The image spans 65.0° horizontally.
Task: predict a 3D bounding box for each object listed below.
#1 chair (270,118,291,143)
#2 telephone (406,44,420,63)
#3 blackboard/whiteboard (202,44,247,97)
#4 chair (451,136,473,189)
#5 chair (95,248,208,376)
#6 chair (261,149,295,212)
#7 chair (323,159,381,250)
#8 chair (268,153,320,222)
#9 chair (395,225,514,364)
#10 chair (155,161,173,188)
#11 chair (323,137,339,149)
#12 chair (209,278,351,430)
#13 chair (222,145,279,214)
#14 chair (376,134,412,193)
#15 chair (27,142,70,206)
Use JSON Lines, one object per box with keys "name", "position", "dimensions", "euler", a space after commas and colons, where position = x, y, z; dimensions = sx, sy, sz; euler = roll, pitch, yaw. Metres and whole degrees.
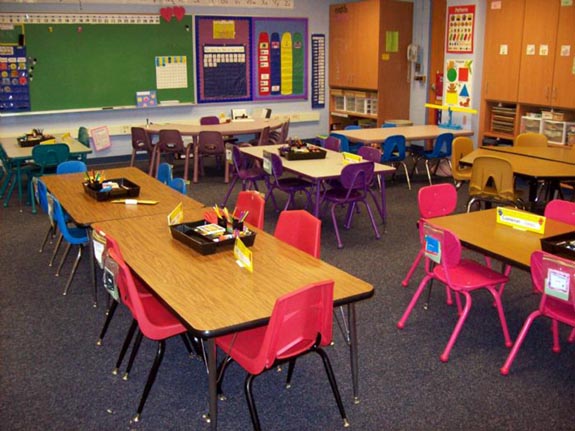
{"name": "chair", "position": [-0.120, -1.611, 8.686], "dimensions": [0.422, 0.611, 0.440], "euler": [-2, 22, -5]}
{"name": "telephone", "position": [2.682, -3.477, 9.665], "dimensions": [0.255, 0.367, 0.128], "euler": [1, 17, 11]}
{"name": "blackboard/whiteboard", "position": [-1.385, -3.179, 9.697], "dimensions": [0.989, 1.163, 0.106], "euler": [-4, 10, -25]}
{"name": "chair", "position": [2.454, -0.758, 6.176], "dimensions": [0.360, 0.605, 0.366], "euler": [-11, 12, -19]}
{"name": "chair", "position": [-0.832, 0.617, 2.827], "dimensions": [0.502, 0.774, 0.488], "euler": [-11, 31, -28]}
{"name": "chair", "position": [-0.049, -0.523, 5.908], "dimensions": [0.527, 0.873, 0.507], "euler": [-7, 16, -21]}
{"name": "chair", "position": [0.776, -0.127, 5.542], "dimensions": [0.626, 1.095, 0.727], "euler": [-12, 30, -20]}
{"name": "chair", "position": [0.002, -0.491, 5.970], "dimensions": [0.626, 0.953, 0.604], "euler": [-7, 18, -21]}
{"name": "chair", "position": [1.258, 0.512, 3.428], "dimensions": [0.769, 0.972, 0.804], "euler": [-15, 17, -36]}
{"name": "chair", "position": [-1.356, -0.451, 5.006], "dimensions": [0.189, 0.295, 0.228], "euler": [3, 7, 20]}
{"name": "chair", "position": [0.650, -1.065, 6.627], "dimensions": [0.149, 0.226, 0.194], "euler": [15, 25, 33]}
{"name": "chair", "position": [-0.062, 0.796, 2.529], "dimensions": [0.509, 0.851, 0.604], "euler": [-11, 28, -28]}
{"name": "chair", "position": [-0.513, -0.567, 6.627], "dimensions": [0.818, 1.364, 0.836], "euler": [-5, 10, -34]}
{"name": "chair", "position": [1.662, -0.914, 7.399], "dimensions": [0.512, 0.907, 0.591], "euler": [-8, 21, -15]}
{"name": "chair", "position": [-3.151, -0.481, 6.070], "dimensions": [0.567, 1.080, 0.685], "euler": [-5, 1, -24]}
